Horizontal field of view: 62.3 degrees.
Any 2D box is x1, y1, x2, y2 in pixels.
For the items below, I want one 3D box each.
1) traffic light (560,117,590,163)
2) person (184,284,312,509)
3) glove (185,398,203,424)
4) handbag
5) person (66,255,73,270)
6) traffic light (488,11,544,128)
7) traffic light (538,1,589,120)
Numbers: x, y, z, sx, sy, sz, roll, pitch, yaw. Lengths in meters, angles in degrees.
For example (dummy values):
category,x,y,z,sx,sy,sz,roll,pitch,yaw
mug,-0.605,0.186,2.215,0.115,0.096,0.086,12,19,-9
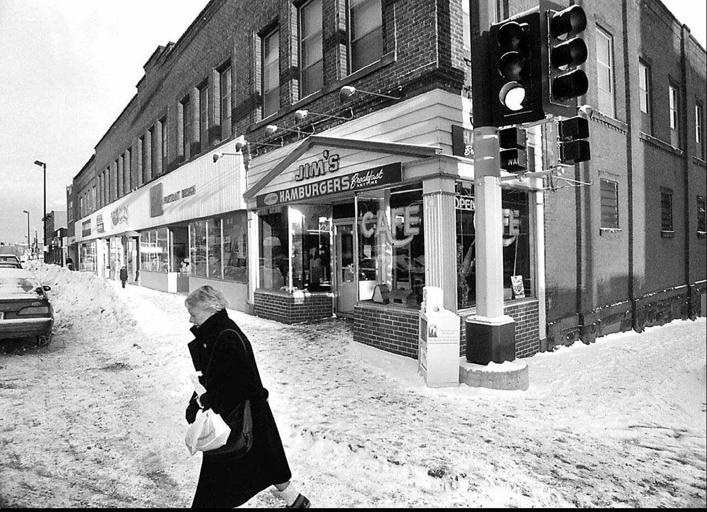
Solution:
category,x,y,z,sx,sy,sz,roll,pitch,yaw
traffic light,4.195,-2.191,11.125,0.511,0.808,0.594,-3,-3,21
person,-1.686,2.043,8.425,1.437,3.236,0.516,-1,-3,-14
glove,-2.329,2.245,8.482,0.086,0.402,0.217,10,-13,-28
handbag,-1.913,2.520,8.500,0.773,0.916,0.577,1,-4,-37
person,-24.052,0.629,49.267,0.631,1.284,0.639,-7,23,-39
traffic light,3.021,-3.518,10.944,1.067,2.041,0.635,-4,-4,34
traffic light,3.826,-3.634,10.689,0.783,2.075,0.583,-2,-3,4
